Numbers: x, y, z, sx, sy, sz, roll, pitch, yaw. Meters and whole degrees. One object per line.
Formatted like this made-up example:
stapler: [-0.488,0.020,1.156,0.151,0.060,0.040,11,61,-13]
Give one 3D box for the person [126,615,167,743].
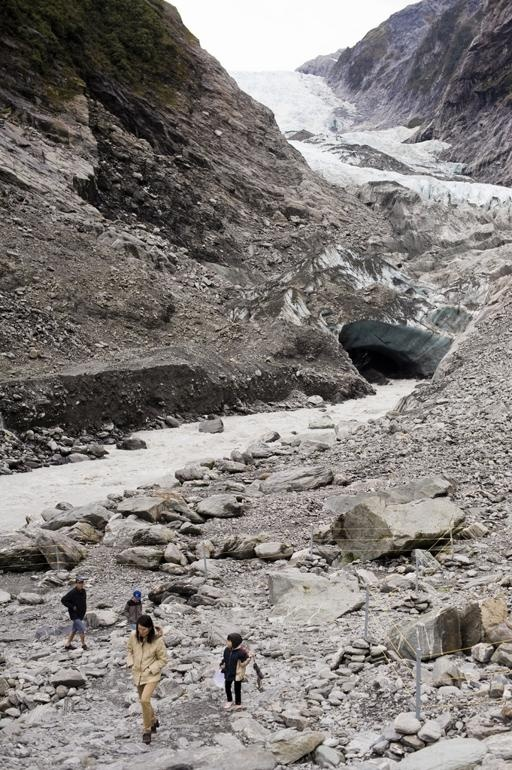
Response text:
person: [-0.772,2.078,5.402,0.271,0.805,0.416,-6,-4,-11]
